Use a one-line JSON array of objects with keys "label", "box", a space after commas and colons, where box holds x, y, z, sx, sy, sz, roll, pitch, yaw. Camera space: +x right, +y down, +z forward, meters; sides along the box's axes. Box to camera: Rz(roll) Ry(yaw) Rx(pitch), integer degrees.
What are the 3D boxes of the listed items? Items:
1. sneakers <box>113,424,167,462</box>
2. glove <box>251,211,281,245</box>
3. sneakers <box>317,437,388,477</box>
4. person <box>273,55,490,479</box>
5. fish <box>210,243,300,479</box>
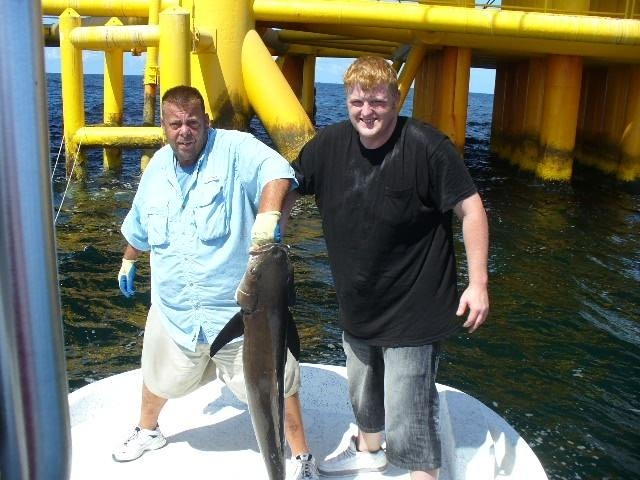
[{"label": "sneakers", "box": [-1.120, 1.219, 3.815, 0.139, 0.170, 0.352, 0, 6, 40]}, {"label": "glove", "box": [-0.270, -0.057, 3.077, 0.108, 0.175, 0.099, 4, -26, 5]}, {"label": "sneakers", "box": [0.194, 1.301, 3.796, 0.469, 0.260, 0.170, 2, -4, -3]}, {"label": "person", "box": [0.366, 0.170, 3.232, 0.979, 2.159, 0.318, 2, 10, 22]}, {"label": "fish", "box": [-0.266, 0.507, 2.782, 0.278, 1.023, 0.192, 5, -17, -28]}]
